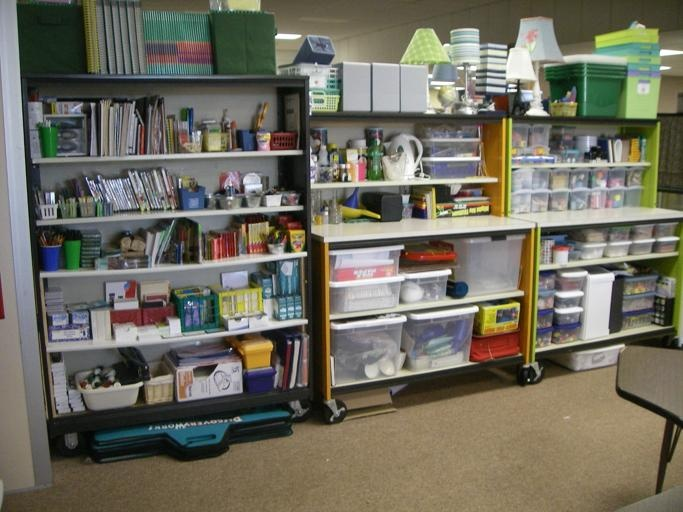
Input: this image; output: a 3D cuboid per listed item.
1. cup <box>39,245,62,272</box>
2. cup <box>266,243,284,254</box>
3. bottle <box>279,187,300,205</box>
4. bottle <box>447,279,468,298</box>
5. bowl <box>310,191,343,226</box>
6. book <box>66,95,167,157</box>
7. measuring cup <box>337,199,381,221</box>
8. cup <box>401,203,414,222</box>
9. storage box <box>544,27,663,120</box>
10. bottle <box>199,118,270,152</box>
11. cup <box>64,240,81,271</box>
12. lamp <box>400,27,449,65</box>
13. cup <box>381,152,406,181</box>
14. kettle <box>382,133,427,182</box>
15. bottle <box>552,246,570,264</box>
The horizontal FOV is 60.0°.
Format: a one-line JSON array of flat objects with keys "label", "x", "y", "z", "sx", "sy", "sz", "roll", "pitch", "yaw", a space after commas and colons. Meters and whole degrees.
[{"label": "cup", "x": -1.690, "y": 0.001, "z": 3.479, "sx": 0.137, "sy": 0.147, "sz": 0.137, "roll": 1, "pitch": 4, "yaw": 0}, {"label": "cup", "x": -0.421, "y": -0.062, "z": 3.757, "sx": 0.076, "sy": 0.041, "sz": 0.067, "roll": -1, "pitch": 6, "yaw": -2}, {"label": "bottle", "x": -0.332, "y": -0.393, "z": 3.847, "sx": 0.111, "sy": 0.085, "sz": 0.094, "roll": 0, "pitch": 9, "yaw": -2}, {"label": "bottle", "x": 0.818, "y": 0.211, "z": 4.162, "sx": 0.150, "sy": 0.120, "sz": 0.188, "roll": -1, "pitch": 15, "yaw": 11}, {"label": "bowl", "x": -0.109, "y": -0.373, "z": 4.176, "sx": 0.202, "sy": 0.232, "sz": 0.333, "roll": -4, "pitch": 15, "yaw": 1}, {"label": "book", "x": -1.286, "y": -0.741, "z": 3.467, "sx": 0.455, "sy": 0.158, "sz": 0.337, "roll": -3, "pitch": 6, "yaw": -31}, {"label": "measuring cup", "x": 0.107, "y": -0.311, "z": 4.180, "sx": 0.227, "sy": 0.078, "sz": 0.131, "roll": 20, "pitch": -6, "yaw": -7}, {"label": "cup", "x": 0.474, "y": -0.324, "z": 4.305, "sx": 0.104, "sy": 0.128, "sz": 0.107, "roll": 0, "pitch": 5, "yaw": 0}, {"label": "storage box", "x": 2.115, "y": -1.468, "z": 5.003, "sx": 0.891, "sy": 0.810, "sz": 0.671, "roll": -2, "pitch": 8, "yaw": -19}, {"label": "bottle", "x": -0.716, "y": -0.753, "z": 3.768, "sx": 0.278, "sy": 0.116, "sz": 0.275, "roll": 1, "pitch": 4, "yaw": 0}, {"label": "cup", "x": -1.580, "y": -0.016, "z": 3.471, "sx": 0.095, "sy": 0.181, "sz": 0.060, "roll": -11, "pitch": 16, "yaw": -26}, {"label": "lamp", "x": 0.596, "y": -1.514, "z": 4.249, "sx": 0.424, "sy": 0.255, "sz": 0.273, "roll": -8, "pitch": 15, "yaw": -13}, {"label": "cup", "x": 0.377, "y": -0.641, "z": 4.169, "sx": 0.163, "sy": 0.189, "sz": 0.131, "roll": -12, "pitch": 17, "yaw": -29}, {"label": "kettle", "x": 0.434, "y": -0.715, "z": 4.197, "sx": 0.357, "sy": 0.374, "sz": 0.271, "roll": -3, "pitch": 6, "yaw": -23}, {"label": "bottle", "x": 1.604, "y": -0.024, "z": 4.398, "sx": 0.118, "sy": 0.132, "sz": 0.122, "roll": -2, "pitch": 10, "yaw": -8}]
